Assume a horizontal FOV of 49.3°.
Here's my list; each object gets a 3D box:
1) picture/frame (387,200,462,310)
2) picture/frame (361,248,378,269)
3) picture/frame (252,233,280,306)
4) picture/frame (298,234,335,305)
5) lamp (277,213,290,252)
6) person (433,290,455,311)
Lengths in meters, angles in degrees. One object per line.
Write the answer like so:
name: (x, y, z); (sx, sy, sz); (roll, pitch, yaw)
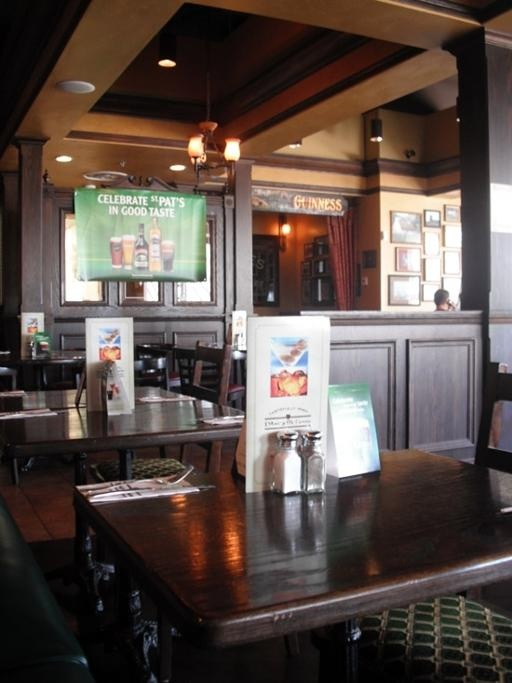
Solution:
picture/frame: (2.751, -1.520, 9.263); (1.748, 1.909, 0.187); (-1, 0, -31)
picture/frame: (1.859, -1.389, 9.145); (0.029, 0.344, 0.346); (-3, 7, -30)
picture/frame: (0.213, -1.503, 11.697); (0.626, 1.018, 0.117); (-1, 0, -32)
picture/frame: (1.206, -1.448, 10.892); (0.237, 1.722, 1.563); (0, 1, -17)
lamp: (0.588, -2.316, 11.672); (0.253, 0.506, 0.359); (0, 0, 3)
person: (2.224, -0.524, 6.622); (0.188, 0.302, 1.115); (0, 1, 19)
